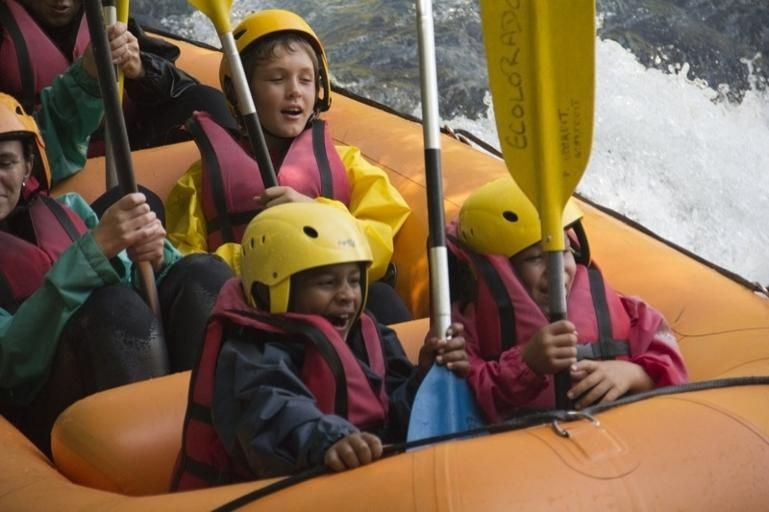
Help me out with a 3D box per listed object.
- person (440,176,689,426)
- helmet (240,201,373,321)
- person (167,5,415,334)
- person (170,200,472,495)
[{"bbox_3d":[0.368,0.134,2.131,0.491,0.269,0.729,-2,36,-2],"label":"person"},{"bbox_3d":[-0.167,0.010,2.013,0.298,0.253,0.244,7,4,44],"label":"helmet"},{"bbox_3d":[-0.225,-0.332,2.817,0.680,0.998,0.781,-12,16,-35],"label":"person"},{"bbox_3d":[-0.190,0.215,2.197,0.540,0.776,0.526,-17,-13,28],"label":"person"}]
